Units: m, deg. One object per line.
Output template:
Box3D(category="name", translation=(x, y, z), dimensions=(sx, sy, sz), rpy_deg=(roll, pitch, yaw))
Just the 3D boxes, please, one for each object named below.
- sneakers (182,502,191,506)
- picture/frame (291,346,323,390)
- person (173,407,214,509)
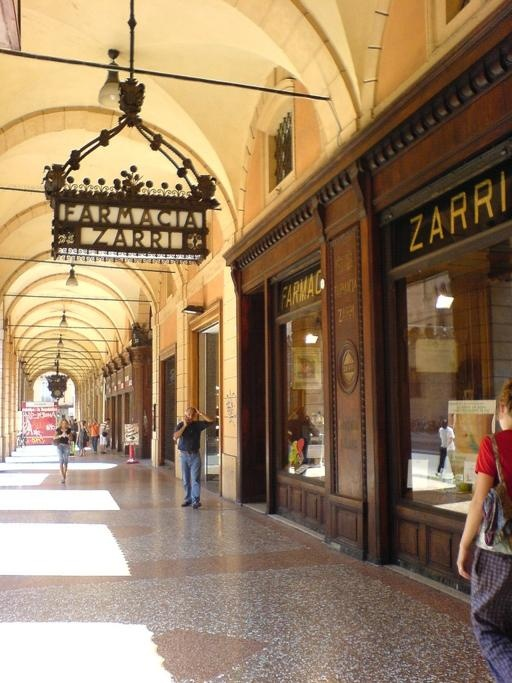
Box3D(category="sneakers", translation=(-1.129, 2.641, 9.422), dimensions=(0.064, 0.079, 0.169), rpy_deg=(-6, -14, 30))
Box3D(category="picture/frame", translation=(0.649, 0.359, 7.540), dimensions=(0.015, 0.597, 0.751), rpy_deg=(-2, -3, 38))
Box3D(category="person", translation=(-1.002, 1.855, 9.237), dimensions=(0.545, 1.589, 0.675), rpy_deg=(-1, -7, 2))
